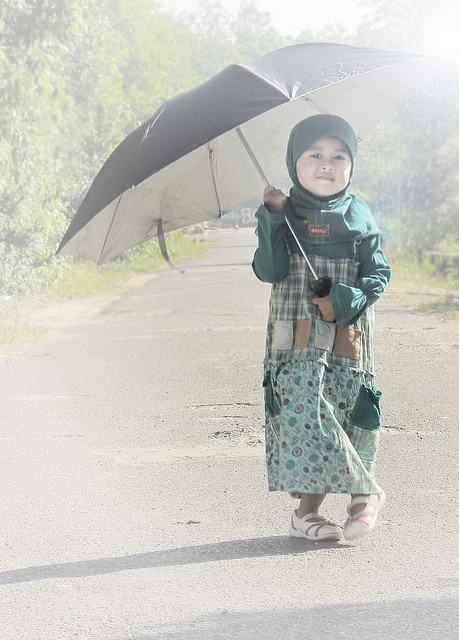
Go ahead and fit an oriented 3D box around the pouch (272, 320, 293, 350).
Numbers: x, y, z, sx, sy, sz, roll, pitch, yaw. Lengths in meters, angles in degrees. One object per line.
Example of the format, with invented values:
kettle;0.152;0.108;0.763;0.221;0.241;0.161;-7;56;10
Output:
pouch;0.222;0.064;3.018;0.041;0.100;0.116;10;-5;-40

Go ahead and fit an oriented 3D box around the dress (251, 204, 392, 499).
dress;0.403;0.157;2.996;0.568;1.282;0.506;-3;8;2

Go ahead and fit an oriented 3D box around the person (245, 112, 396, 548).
person;0.376;-0.004;3.005;0.570;1.702;0.566;-2;8;10

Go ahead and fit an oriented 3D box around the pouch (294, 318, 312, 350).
pouch;0.294;0.056;2.963;0.087;0.123;0.055;4;11;43

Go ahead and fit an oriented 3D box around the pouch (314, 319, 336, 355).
pouch;0.386;0.066;2.948;0.100;0.140;0.055;-4;8;-3
